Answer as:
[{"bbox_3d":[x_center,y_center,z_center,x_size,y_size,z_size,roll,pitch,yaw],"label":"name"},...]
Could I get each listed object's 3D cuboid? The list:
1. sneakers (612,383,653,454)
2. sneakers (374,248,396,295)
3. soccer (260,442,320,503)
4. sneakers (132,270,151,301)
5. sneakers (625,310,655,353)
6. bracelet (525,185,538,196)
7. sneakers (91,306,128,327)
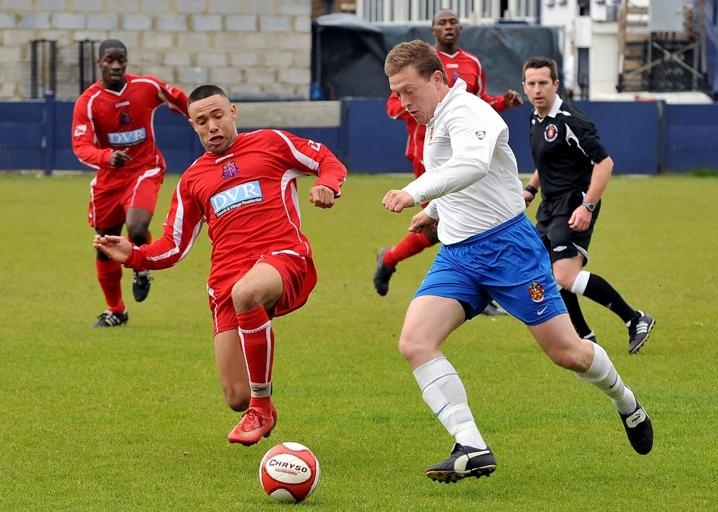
[{"bbox_3d":[2.042,1.201,8.852,0.211,0.209,0.602,-23,38,4],"label":"sneakers"},{"bbox_3d":[0.243,0.163,11.604,0.240,0.402,0.148,6,0,2],"label":"sneakers"},{"bbox_3d":[-0.460,1.504,8.366,0.368,0.383,0.367,5,-32,12],"label":"soccer"},{"bbox_3d":[-2.181,0.290,12.001,0.120,0.380,0.146,0,8,-5],"label":"sneakers"},{"bbox_3d":[2.457,0.682,10.486,0.210,0.158,0.452,22,43,3],"label":"sneakers"},{"bbox_3d":[1.570,-0.606,10.971,0.101,0.113,0.105,16,-5,19],"label":"bracelet"},{"bbox_3d":[-2.417,0.599,11.670,0.375,0.157,0.125,-2,8,-33],"label":"sneakers"}]
